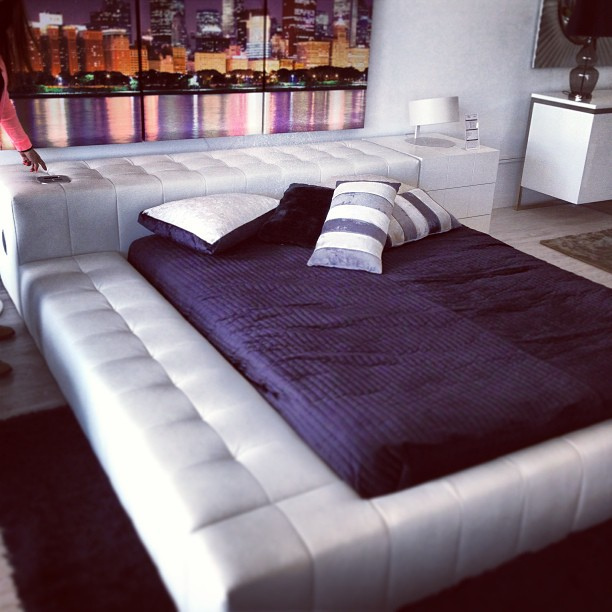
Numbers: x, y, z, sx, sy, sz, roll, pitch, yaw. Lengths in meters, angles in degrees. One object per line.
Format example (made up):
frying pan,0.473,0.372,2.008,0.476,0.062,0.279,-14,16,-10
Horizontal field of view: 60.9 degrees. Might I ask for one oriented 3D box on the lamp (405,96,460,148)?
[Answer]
lamp,0.849,-1.311,3.740,0.534,0.329,0.389,1,18,4
